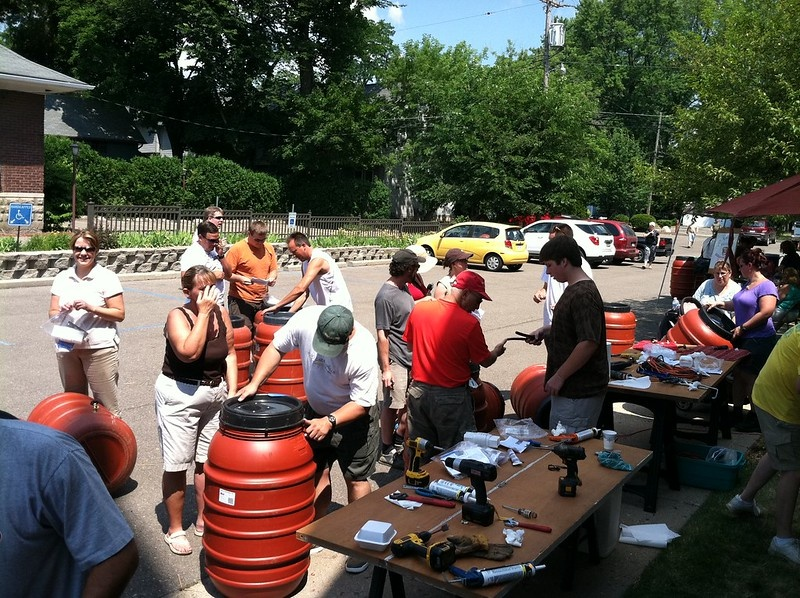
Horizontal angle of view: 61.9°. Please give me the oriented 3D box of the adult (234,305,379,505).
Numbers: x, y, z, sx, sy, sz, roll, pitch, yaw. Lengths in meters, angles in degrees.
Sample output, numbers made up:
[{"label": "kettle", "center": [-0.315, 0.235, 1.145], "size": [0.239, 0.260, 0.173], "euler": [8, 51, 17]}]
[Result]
[{"label": "adult", "center": [-0.697, 0.856, 5.134], "size": [0.816, 1.829, 0.939], "euler": [21, 38, 21]}]

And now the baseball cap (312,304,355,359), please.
[{"label": "baseball cap", "center": [-0.486, 0.227, 4.879], "size": [0.233, 0.380, 0.159], "euler": [22, -36, -1]}]

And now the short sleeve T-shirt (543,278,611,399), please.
[{"label": "short sleeve T-shirt", "center": [1.616, 0.330, 5.831], "size": [0.478, 0.837, 0.748], "euler": [-2, 0, 12]}]

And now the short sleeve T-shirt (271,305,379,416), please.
[{"label": "short sleeve T-shirt", "center": [-0.616, 0.520, 5.326], "size": [0.775, 0.622, 0.375], "euler": [33, 47, 18]}]

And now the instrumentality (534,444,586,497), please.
[{"label": "instrumentality", "center": [1.107, 1.187, 4.604], "size": [0.279, 0.331, 0.124], "euler": [1, -7, 15]}]

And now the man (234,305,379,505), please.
[{"label": "man", "center": [-0.697, 0.856, 5.134], "size": [0.816, 1.829, 0.939], "euler": [21, 38, 21]}]

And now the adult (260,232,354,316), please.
[{"label": "adult", "center": [-1.031, -0.309, 8.009], "size": [0.872, 0.940, 0.728], "euler": [6, 9, 32]}]

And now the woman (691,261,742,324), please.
[{"label": "woman", "center": [4.473, -0.023, 9.403], "size": [0.691, 0.982, 0.505], "euler": [6, -1, 42]}]

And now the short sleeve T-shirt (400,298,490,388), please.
[{"label": "short sleeve T-shirt", "center": [0.358, 0.380, 5.695], "size": [0.692, 0.609, 0.370], "euler": [12, 22, 32]}]

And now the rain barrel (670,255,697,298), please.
[{"label": "rain barrel", "center": [6.220, -0.473, 14.661], "size": [0.550, 0.871, 0.563], "euler": [0, 8, 0]}]

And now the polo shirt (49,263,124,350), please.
[{"label": "polo shirt", "center": [-3.080, 0.079, 6.566], "size": [0.615, 0.831, 0.429], "euler": [-2, 9, -24]}]

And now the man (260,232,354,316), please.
[{"label": "man", "center": [-1.019, -0.311, 8.025], "size": [0.868, 0.940, 0.758], "euler": [6, 9, 32]}]

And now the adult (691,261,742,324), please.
[{"label": "adult", "center": [4.439, -0.030, 9.384], "size": [0.683, 0.998, 0.578], "euler": [7, 1, 28]}]

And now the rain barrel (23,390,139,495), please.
[{"label": "rain barrel", "center": [-2.801, 1.253, 6.107], "size": [0.705, 0.850, 0.909], "euler": [-8, 14, -31]}]

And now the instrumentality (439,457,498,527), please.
[{"label": "instrumentality", "center": [0.476, 1.168, 4.118], "size": [0.220, 0.387, 0.171], "euler": [3, 8, 10]}]

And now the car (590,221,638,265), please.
[{"label": "car", "center": [8.122, -2.334, 26.557], "size": [2.252, 1.149, 1.268], "euler": [9, 13, 36]}]

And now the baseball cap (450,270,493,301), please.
[{"label": "baseball cap", "center": [0.633, -0.108, 5.747], "size": [0.319, 0.175, 0.223], "euler": [22, 0, -23]}]

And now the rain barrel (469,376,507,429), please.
[{"label": "rain barrel", "center": [0.858, 1.076, 6.882], "size": [0.462, 0.479, 0.341], "euler": [9, -4, -33]}]

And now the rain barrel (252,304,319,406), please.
[{"label": "rain barrel", "center": [-1.366, 0.710, 7.250], "size": [0.652, 1.075, 0.668], "euler": [-1, 0, 0]}]
